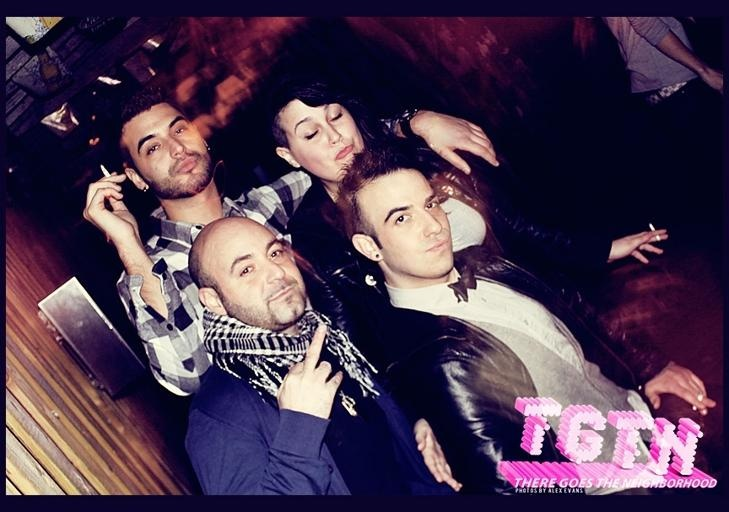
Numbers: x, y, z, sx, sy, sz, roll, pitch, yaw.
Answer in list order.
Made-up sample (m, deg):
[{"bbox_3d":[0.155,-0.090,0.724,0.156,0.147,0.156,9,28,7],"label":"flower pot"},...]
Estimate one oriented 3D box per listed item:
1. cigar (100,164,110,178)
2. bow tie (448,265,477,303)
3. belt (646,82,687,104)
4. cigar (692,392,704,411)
[{"bbox_3d":[-1.524,-0.500,3.429,0.018,0.091,0.007,-38,5,-1],"label":"cigar"},{"bbox_3d":[0.583,0.160,3.451,0.195,0.186,0.070,-13,7,1],"label":"bow tie"},{"bbox_3d":[1.782,-0.966,3.488,0.159,0.036,0.150,-21,-8,-16],"label":"belt"},{"bbox_3d":[1.956,0.860,3.457,0.090,0.080,0.026,-1,5,-19],"label":"cigar"}]
